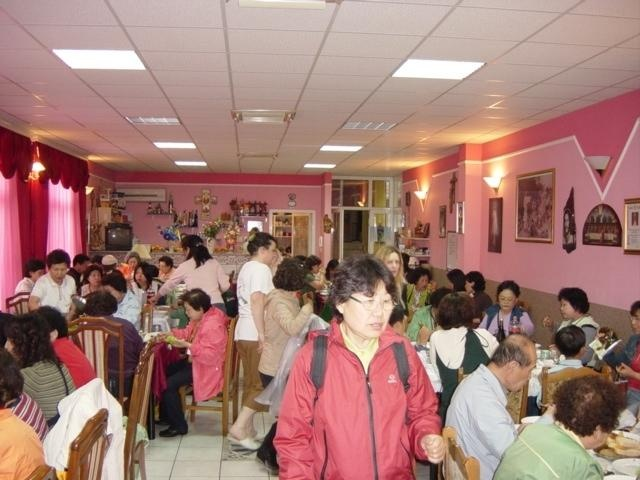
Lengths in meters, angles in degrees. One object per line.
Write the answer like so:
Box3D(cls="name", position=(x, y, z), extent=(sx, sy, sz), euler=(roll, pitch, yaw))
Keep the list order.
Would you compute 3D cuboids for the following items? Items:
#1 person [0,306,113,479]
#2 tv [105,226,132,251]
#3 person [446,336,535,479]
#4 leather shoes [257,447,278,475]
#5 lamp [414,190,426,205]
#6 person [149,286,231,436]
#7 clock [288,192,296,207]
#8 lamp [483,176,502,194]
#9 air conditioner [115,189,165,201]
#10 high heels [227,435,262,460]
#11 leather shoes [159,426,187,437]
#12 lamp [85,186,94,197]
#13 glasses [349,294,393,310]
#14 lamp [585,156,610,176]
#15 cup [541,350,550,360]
Box3D(cls="person", position=(-1.931, 0.959, 3.608), extent=(0.675, 0.846, 0.619), euler=(0, 0, 16))
Box3D(cls="tv", position=(-4.802, -0.060, 11.783), extent=(0.488, 0.586, 0.564), euler=(0, 1, -15))
Box3D(cls="person", position=(1.096, 1.090, 3.235), extent=(0.463, 1.175, 0.486), euler=(-4, 19, -2))
Box3D(cls="leather shoes", position=(-0.483, 2.069, 4.658), extent=(0.154, 0.151, 0.364), euler=(4, -4, -28))
Box3D(cls="lamp", position=(2.437, -1.018, 11.867), extent=(0.310, 0.401, 0.322), euler=(-2, -1, 3))
Box3D(cls="person", position=(-1.379, 1.309, 5.299), extent=(0.747, 1.528, 0.752), euler=(4, 1, -17))
Box3D(cls="clock", position=(-0.806, -1.151, 14.239), extent=(0.232, 0.371, 0.084), euler=(2, 1, -16))
Box3D(cls="lamp", position=(2.990, -0.956, 8.569), extent=(0.259, 0.231, 0.270), euler=(-1, 6, 5))
Box3D(cls="air conditioner", position=(-4.852, -1.231, 13.526), extent=(1.237, 0.383, 0.151), euler=(0, 0, -11))
Box3D(cls="high heels", position=(-0.784, 2.069, 4.892), extent=(0.289, 0.125, 0.169), euler=(-3, 1, 16))
Box3D(cls="leather shoes", position=(-1.548, 2.030, 5.192), extent=(0.210, 0.069, 0.121), euler=(8, -3, -7))
Box3D(cls="lamp", position=(-5.241, -1.103, 11.166), extent=(0.210, 0.167, 0.207), euler=(-1, -2, -44))
Box3D(cls="glasses", position=(0.257, 0.304, 2.408), extent=(0.220, 0.068, 0.045), euler=(0, 0, -13))
Box3D(cls="lamp", position=(3.428, -0.904, 6.091), extent=(0.223, 0.191, 0.224), euler=(-1, 2, -30))
Box3D(cls="cup", position=(2.304, 1.183, 5.041), extent=(0.078, 0.083, 0.081), euler=(1, -6, 0))
